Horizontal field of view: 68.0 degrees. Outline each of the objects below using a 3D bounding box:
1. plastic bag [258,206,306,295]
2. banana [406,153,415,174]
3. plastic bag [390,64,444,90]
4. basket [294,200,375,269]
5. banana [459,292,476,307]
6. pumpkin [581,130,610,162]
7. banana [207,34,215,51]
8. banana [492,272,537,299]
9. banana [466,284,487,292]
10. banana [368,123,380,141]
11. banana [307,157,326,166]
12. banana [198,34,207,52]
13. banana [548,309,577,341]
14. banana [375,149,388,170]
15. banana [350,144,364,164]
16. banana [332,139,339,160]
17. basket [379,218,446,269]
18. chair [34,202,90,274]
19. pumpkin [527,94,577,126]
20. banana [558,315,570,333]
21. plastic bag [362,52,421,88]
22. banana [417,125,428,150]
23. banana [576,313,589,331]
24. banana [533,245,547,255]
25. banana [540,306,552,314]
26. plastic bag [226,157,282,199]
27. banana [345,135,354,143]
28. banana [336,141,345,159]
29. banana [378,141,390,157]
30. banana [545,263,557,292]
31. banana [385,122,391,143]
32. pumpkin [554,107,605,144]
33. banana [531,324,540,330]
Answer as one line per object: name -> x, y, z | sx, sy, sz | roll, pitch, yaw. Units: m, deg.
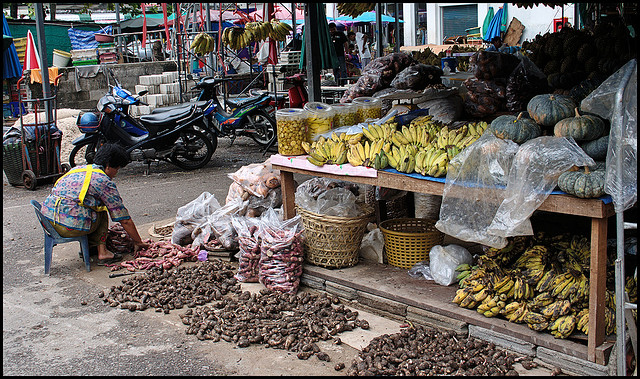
plastic bag -> -0.448, 0.757, 5.604 | 0.553, 0.861, 0.590 | -2, 16, 10
banana -> 0.944, -0.256, 4.963 | 0.114, 0.157, 0.051 | 14, -4, -2
plastic bag -> 1.280, -1.451, 6.115 | 0.367, 0.198, 0.540 | -22, 2, 39
basket -> 0.145, 0.649, 5.723 | 0.846, 0.525, 0.812 | 8, -20, -22
banana -> 1.463, 1.099, 4.717 | 0.219, 0.061, 0.070 | -43, 32, 11
pumpkin -> 2.563, -0.376, 4.419 | 0.252, 0.208, 0.240 | 1, 8, 27
banana -> -2.821, -3.855, 12.317 | 0.174, 0.393, 0.098 | -13, -25, -17
banana -> 1.889, 0.953, 4.624 | 0.242, 0.126, 0.334 | -38, 41, -10
banana -> 1.539, 0.980, 4.712 | 0.116, 0.027, 0.088 | -20, -12, 22
banana -> 0.624, -0.674, 5.544 | 0.225, 0.077, 0.065 | 38, 26, 7
banana -> -0.050, -0.312, 5.483 | 0.279, 0.066, 0.087 | 13, 50, 1
banana -> -2.955, -3.672, 11.907 | 0.117, 0.394, 0.170 | 18, -1, -37
banana -> 2.267, 1.228, 4.421 | 0.206, 0.107, 0.373 | 18, 45, 42
banana -> 0.657, -0.298, 5.157 | 0.125, 0.159, 0.088 | -16, 6, -8
banana -> 0.399, -0.397, 5.350 | 0.071, 0.239, 0.085 | -37, 8, 36
banana -> 0.183, -0.505, 5.525 | 0.039, 0.165, 0.048 | 6, -21, 40
basket -> 1.081, 0.612, 5.585 | 0.687, 0.365, 0.660 | 0, 5, 29
chair -> -3.327, 0.578, 6.099 | 0.563, 0.927, 0.358 | -8, 17, -12
pumpkin -> 2.289, -0.773, 4.709 | 0.391, 0.230, 0.346 | -8, 29, -4
banana -> 2.233, 1.223, 4.355 | 0.058, 0.184, 0.054 | 32, -16, 23
plastic bag -> 0.917, -1.665, 6.378 | 0.478, 0.173, 0.582 | -7, 19, 47
banana -> 1.171, -0.582, 5.377 | 0.068, 0.256, 0.041 | 2, -31, 39
banana -> 2.398, 1.201, 4.316 | 0.042, 0.129, 0.093 | 32, 2, -16
banana -> 2.221, 0.598, 4.750 | 0.093, 0.019, 0.084 | -13, 24, -33
banana -> 2.102, 1.125, 4.426 | 0.071, 0.068, 0.045 | 1, 17, 19
plastic bag -> -0.893, -0.120, 6.178 | 0.635, 0.529, 0.194 | -19, -18, 3
banana -> 0.356, -0.612, 5.615 | 0.052, 0.068, 0.069 | 6, 18, 32
banana -> 0.249, -0.455, 5.464 | 0.065, 0.190, 0.059 | 17, -18, 28
banana -> 0.716, -0.460, 5.269 | 0.040, 0.050, 0.138 | 29, 69, 21
banana -> 2.222, 0.854, 4.554 | 0.045, 0.038, 0.319 | -23, 29, 53
banana -> 0.784, -0.677, 5.521 | 0.059, 0.083, 0.229 | -22, 47, 17
pumpkin -> 2.501, -0.643, 4.582 | 0.612, 0.286, 0.584 | -5, 6, 28
banana -> 2.003, 1.282, 4.424 | 0.058, 0.064, 0.017 | 3, 18, 23
